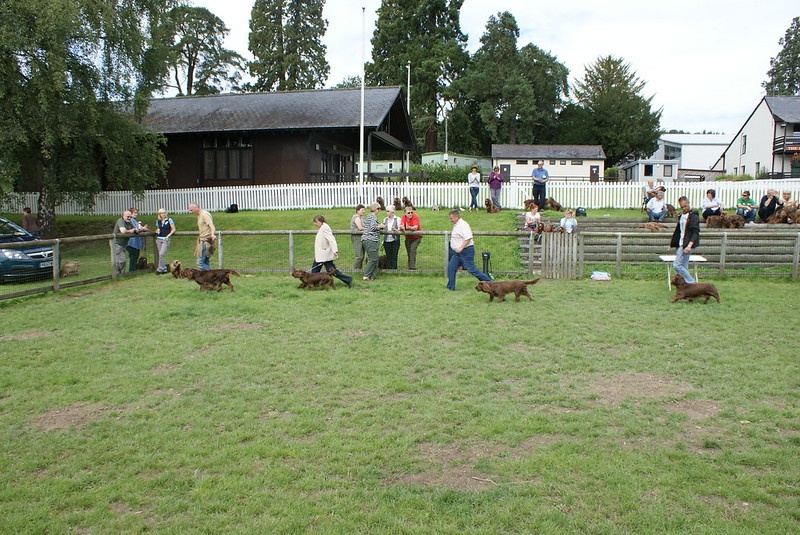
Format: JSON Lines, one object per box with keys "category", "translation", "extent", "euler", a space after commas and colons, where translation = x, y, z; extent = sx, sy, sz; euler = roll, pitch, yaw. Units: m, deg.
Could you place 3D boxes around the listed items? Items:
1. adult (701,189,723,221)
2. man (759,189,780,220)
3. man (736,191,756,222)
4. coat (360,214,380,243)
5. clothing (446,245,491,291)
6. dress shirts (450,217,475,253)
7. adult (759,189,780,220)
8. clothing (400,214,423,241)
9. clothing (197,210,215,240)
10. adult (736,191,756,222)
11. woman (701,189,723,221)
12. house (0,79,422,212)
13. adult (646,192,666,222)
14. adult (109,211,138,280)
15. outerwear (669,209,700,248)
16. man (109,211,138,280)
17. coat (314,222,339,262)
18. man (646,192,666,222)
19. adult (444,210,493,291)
{"category": "adult", "translation": [11.037, -2.268, 27.226], "extent": [0.671, 1.079, 1.352], "euler": [3, 8, 22]}
{"category": "man", "translation": [13.130, -2.252, 27.426], "extent": [0.684, 1.163, 1.063], "euler": [3, 8, 25]}
{"category": "man", "translation": [12.490, -2.260, 27.800], "extent": [0.647, 1.069, 2.031], "euler": [3, 9, 24]}
{"category": "coat", "translation": [-0.882, -1.244, 22.995], "extent": [0.591, 0.838, 0.492], "euler": [-2, 8, -14]}
{"category": "clothing", "translation": [1.852, -0.107, 21.554], "extent": [1.208, 1.308, 0.641], "euler": [-5, 15, -4]}
{"category": "dress shirts", "translation": [1.630, -0.971, 21.277], "extent": [0.599, 0.882, 0.980], "euler": [-14, 15, -28]}
{"category": "adult", "translation": [13.130, -2.252, 27.426], "extent": [0.684, 1.163, 1.063], "euler": [3, 8, 25]}
{"category": "clothing", "translation": [0.297, -1.298, 23.596], "extent": [0.552, 0.792, 0.701], "euler": [0, 8, 0]}
{"category": "clothing", "translation": [-5.745, -1.312, 22.681], "extent": [0.424, 0.850, 0.513], "euler": [-3, 8, -18]}
{"category": "adult", "translation": [12.494, -2.262, 27.808], "extent": [0.647, 1.069, 2.051], "euler": [3, 9, 24]}
{"category": "woman", "translation": [11.033, -2.269, 27.235], "extent": [0.674, 1.079, 1.375], "euler": [3, 8, 24]}
{"category": "house", "translation": [-6.548, -6.866, 39.835], "extent": [12.930, 5.279, 8.803], "euler": [-1, 8, -9]}
{"category": "adult", "translation": [9.226, -2.227, 27.766], "extent": [0.684, 1.010, 1.418], "euler": [2, 8, 19]}
{"category": "adult", "translation": [-8.586, -0.793, 23.608], "extent": [0.496, 1.931, 1.056], "euler": [3, 8, 26]}
{"category": "outerwear", "translation": [7.569, -1.030, 20.421], "extent": [0.390, 1.029, 0.739], "euler": [-4, 8, -27]}
{"category": "man", "translation": [-8.534, -0.790, 23.586], "extent": [0.564, 1.931, 1.046], "euler": [1, 7, 6]}
{"category": "coat", "translation": [-2.199, -0.750, 22.034], "extent": [0.583, 1.110, 1.285], "euler": [-9, 13, -30]}
{"category": "man", "translation": [9.219, -2.223, 27.740], "extent": [0.686, 1.010, 1.552], "euler": [2, 8, 19]}
{"category": "adult", "translation": [1.794, -0.528, 21.409], "extent": [1.492, 2.316, 0.878], "euler": [-4, 10, 7]}
